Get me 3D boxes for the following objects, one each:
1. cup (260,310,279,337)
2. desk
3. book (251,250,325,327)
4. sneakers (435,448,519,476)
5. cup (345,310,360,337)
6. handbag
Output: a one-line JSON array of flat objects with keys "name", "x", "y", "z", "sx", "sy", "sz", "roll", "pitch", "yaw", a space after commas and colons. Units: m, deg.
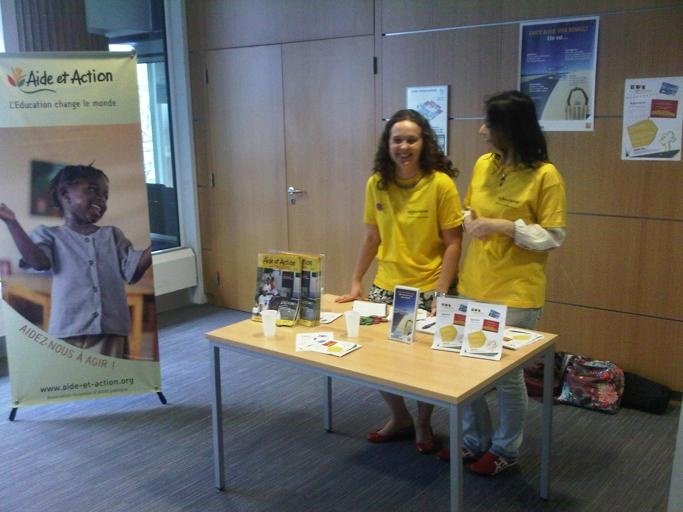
[{"name": "cup", "x": -0.367, "y": 0.340, "z": 2.683, "sx": 0.107, "sy": 0.117, "sz": 0.119, "roll": -8, "pitch": 14, "yaw": -33}, {"name": "desk", "x": 0.333, "y": 0.443, "z": 2.628, "sx": 1.686, "sy": 0.878, "sz": 1.028, "roll": 5, "pitch": 11, "yaw": 39}, {"name": "book", "x": -0.281, "y": 0.187, "z": 2.810, "sx": 0.397, "sy": 0.367, "sz": 0.143, "roll": 6, "pitch": 10, "yaw": 25}, {"name": "sneakers", "x": 0.794, "y": 1.131, "z": 3.038, "sx": 0.387, "sy": 0.145, "sz": 0.239, "roll": 5, "pitch": 2, "yaw": -12}, {"name": "cup", "x": 0.056, "y": 0.338, "z": 2.668, "sx": 0.109, "sy": 0.140, "sz": 0.134, "roll": 1, "pitch": 2, "yaw": -4}, {"name": "handbag", "x": 1.815, "y": 1.002, "z": 3.823, "sx": 0.889, "sy": 0.212, "sz": 0.505, "roll": 14, "pitch": 41, "yaw": 24}]
